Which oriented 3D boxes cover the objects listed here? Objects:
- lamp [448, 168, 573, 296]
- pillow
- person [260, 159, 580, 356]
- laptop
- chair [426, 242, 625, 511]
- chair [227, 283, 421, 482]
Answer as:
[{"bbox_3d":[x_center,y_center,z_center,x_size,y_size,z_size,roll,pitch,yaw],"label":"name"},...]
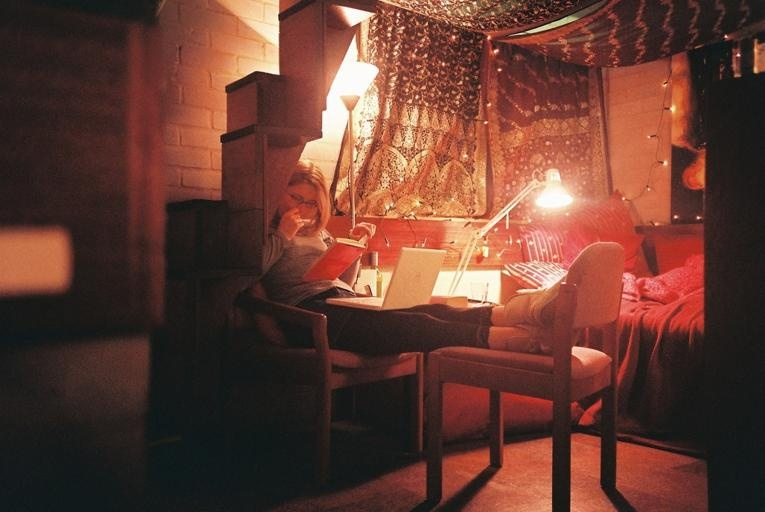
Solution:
[{"bbox_3d":[0.761,-0.140,3.694,0.756,0.922,0.249,12,39,21],"label":"lamp"},{"bbox_3d":[1.396,-0.114,4.096,0.582,0.611,0.179,-11,-40,19],"label":"pillow"},{"bbox_3d":[0.065,0.033,2.544,1.260,0.691,0.580,5,-2,18],"label":"person"},{"bbox_3d":[0.050,0.093,2.368,0.292,0.191,0.321,-1,-3,33],"label":"laptop"},{"bbox_3d":[0.622,0.429,2.537,0.863,1.292,0.737,-1,-4,33],"label":"chair"},{"bbox_3d":[-0.232,0.464,2.514,0.815,0.719,0.806,4,-3,-17],"label":"chair"}]
